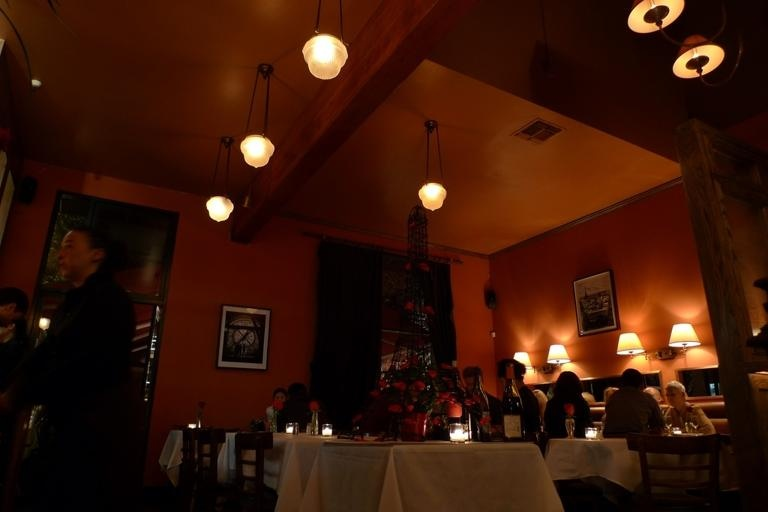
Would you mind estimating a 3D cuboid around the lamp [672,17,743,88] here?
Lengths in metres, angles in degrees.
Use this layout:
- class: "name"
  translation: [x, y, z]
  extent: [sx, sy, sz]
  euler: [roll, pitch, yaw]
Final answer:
- class: "lamp"
  translation: [2.552, -1.587, 4.322]
  extent: [0.257, 0.419, 0.401]
  euler: [-13, 6, -8]

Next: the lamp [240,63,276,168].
- class: "lamp"
  translation: [-1.340, -1.309, 5.825]
  extent: [0.299, 1.056, 0.950]
  euler: [6, -23, -15]

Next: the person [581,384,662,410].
- class: "person"
  translation: [2.470, 1.456, 5.630]
  extent: [0.149, 0.216, 0.905]
  euler: [-5, -9, -13]

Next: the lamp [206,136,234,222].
- class: "lamp"
  translation: [-1.982, -0.924, 6.589]
  extent: [0.297, 0.316, 1.199]
  euler: [14, -46, -12]

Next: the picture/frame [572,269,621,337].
- class: "picture/frame"
  translation: [3.143, 0.699, 7.970]
  extent: [0.105, 1.062, 0.744]
  euler: [9, -17, -30]

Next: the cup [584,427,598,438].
- class: "cup"
  translation: [1.750, 1.480, 4.596]
  extent: [0.095, 0.073, 0.094]
  euler: [2, -5, 0]

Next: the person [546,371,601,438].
- class: "person"
  translation: [1.780, 1.484, 5.213]
  extent: [0.425, 0.782, 0.429]
  euler: [13, -10, -42]

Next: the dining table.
- class: "dining table"
  translation: [0.700, 1.489, 3.899]
  extent: [4.017, 0.552, 2.129]
  euler: [3, -23, -7]

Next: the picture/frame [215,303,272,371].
- class: "picture/frame"
  translation: [-1.966, 1.135, 7.657]
  extent: [0.679, 0.975, 0.039]
  euler: [5, 21, -13]

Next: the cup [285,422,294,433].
- class: "cup"
  translation: [-0.869, 1.605, 5.094]
  extent: [0.085, 0.092, 0.088]
  euler: [2, -3, 0]

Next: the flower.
- class: "flower"
  translation: [0.220, 0.707, 3.238]
  extent: [0.461, 0.240, 0.473]
  euler: [-6, 6, -9]
